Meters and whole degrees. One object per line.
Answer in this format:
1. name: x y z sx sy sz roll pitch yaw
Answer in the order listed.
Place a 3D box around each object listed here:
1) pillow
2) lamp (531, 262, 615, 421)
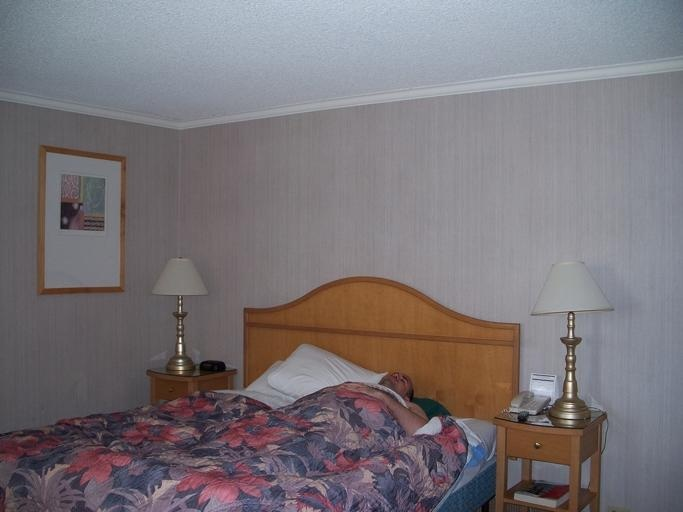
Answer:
1. pillow: -0.095 0.858 4.080 1.056 0.295 0.576 7 13 31
2. lamp: 1.409 0.499 3.513 0.447 0.953 0.362 2 -2 -38
